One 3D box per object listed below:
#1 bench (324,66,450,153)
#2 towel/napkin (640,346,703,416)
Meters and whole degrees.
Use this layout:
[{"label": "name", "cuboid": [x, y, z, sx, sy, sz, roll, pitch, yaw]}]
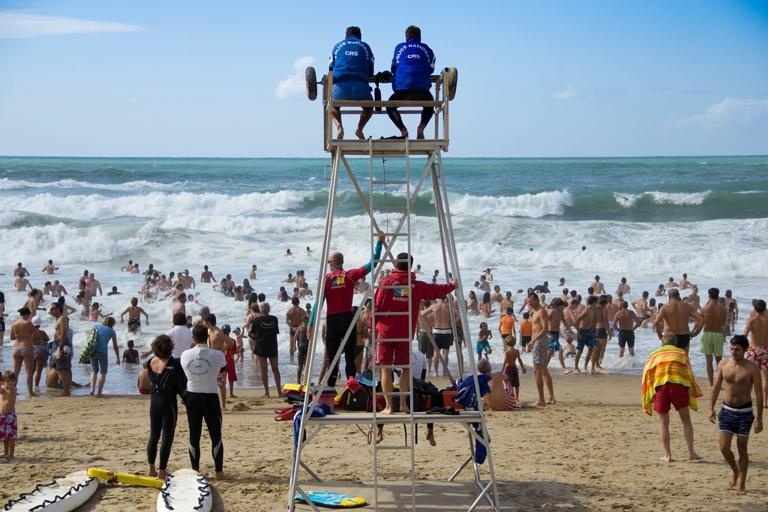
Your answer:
[{"label": "bench", "cuboid": [0.044, -2.982, 19.973, 2.483, 1.619, 0.952, 0, 4, -4]}, {"label": "towel/napkin", "cuboid": [6.398, 2.664, 21.417, 1.276, 1.571, 0.943, -5, -18, 11]}]
